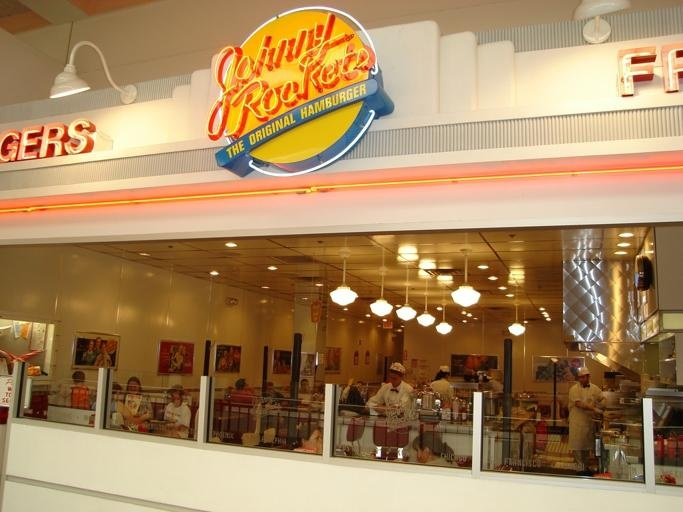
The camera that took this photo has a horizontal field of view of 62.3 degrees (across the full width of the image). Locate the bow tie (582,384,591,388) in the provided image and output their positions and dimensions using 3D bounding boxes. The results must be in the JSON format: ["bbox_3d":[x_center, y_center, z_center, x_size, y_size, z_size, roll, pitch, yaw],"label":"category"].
[{"bbox_3d":[3.408,1.793,7.871,0.061,0.024,0.055,-1,-5,-37],"label":"bow tie"}]

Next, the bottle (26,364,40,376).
[{"bbox_3d":[-4.661,1.718,8.551,0.102,0.161,0.289,3,-10,-10],"label":"bottle"}]

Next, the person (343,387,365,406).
[{"bbox_3d":[0.145,1.768,7.212,0.188,0.233,0.774,0,-10,7],"label":"person"}]

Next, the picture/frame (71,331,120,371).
[{"bbox_3d":[-4.156,1.573,9.419,0.031,0.533,0.822,-9,-12,26],"label":"picture/frame"}]
